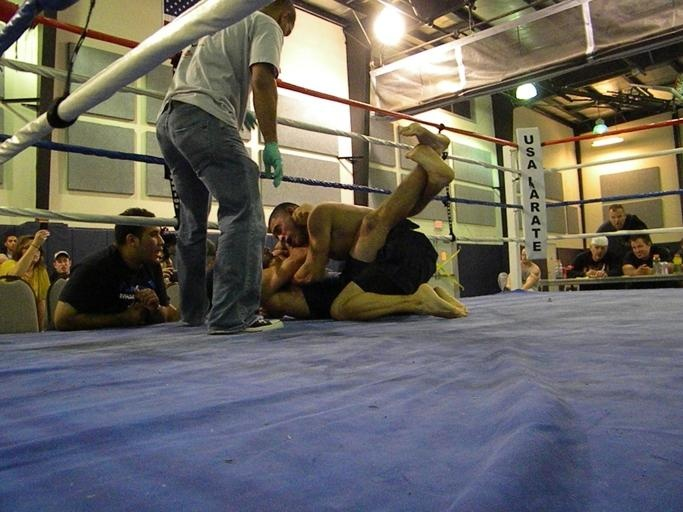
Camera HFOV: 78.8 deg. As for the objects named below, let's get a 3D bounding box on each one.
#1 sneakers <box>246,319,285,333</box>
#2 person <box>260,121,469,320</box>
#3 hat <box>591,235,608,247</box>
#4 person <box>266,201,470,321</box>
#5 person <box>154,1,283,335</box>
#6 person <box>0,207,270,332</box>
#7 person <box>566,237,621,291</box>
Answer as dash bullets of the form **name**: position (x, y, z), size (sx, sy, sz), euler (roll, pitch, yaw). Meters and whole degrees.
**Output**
- **sneakers**: position (-0.318, 0.287, 1.720), size (0.141, 0.055, 0.048), euler (-4, -1, -13)
- **person**: position (0.070, -0.106, 2.314), size (1.163, 0.997, 0.472), euler (-3, -7, 18)
- **hat**: position (3.210, -0.180, 5.188), size (0.124, 0.115, 0.155), euler (-2, -11, 3)
- **person**: position (0.087, 0.019, 2.327), size (1.159, 0.706, 0.606), euler (-8, -3, 20)
- **person**: position (-0.553, -0.441, 1.922), size (0.661, 1.577, 0.458), euler (-2, -2, 37)
- **person**: position (-0.851, 0.074, 2.066), size (1.232, 0.673, 0.604), euler (2, -4, 2)
- **person**: position (3.280, 0.067, 5.370), size (0.631, 0.612, 0.905), euler (6, -1, 27)
